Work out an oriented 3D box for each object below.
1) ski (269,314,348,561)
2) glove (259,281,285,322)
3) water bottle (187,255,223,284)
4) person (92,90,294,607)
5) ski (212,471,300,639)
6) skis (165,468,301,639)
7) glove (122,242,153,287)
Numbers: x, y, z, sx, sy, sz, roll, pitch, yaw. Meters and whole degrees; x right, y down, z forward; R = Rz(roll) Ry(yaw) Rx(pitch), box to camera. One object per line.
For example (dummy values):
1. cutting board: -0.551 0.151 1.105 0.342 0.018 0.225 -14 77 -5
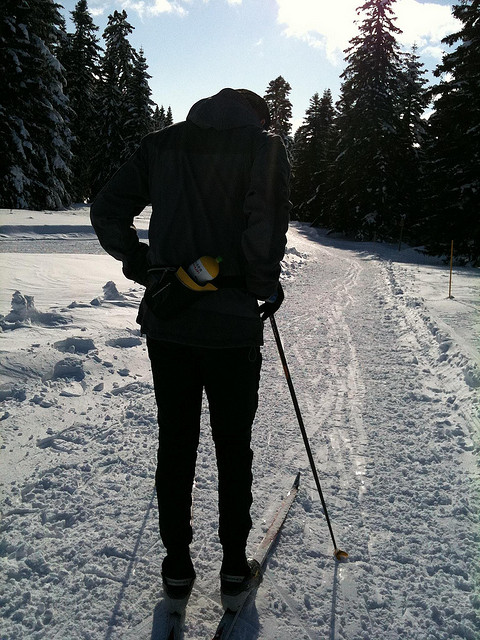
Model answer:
1. ski: 0.559 0.933 4.225 0.202 1.435 0.144 -13 -10 -19
2. glove: 0.151 -0.092 2.456 0.062 0.282 0.073 -3 44 -11
3. water bottle: -0.159 -0.211 2.201 0.135 0.119 0.049 4 13 3
4. person: -0.254 0.166 2.433 0.780 2.363 0.468 10 15 27
5. ski: 0.212 1.147 3.217 0.149 0.143 2.104 5 19 14
6. skis: -0.039 1.236 2.672 0.104 1.018 0.074 41 -17 -18
7. glove: -0.483 -0.273 2.538 0.133 0.227 0.097 -3 6 26
